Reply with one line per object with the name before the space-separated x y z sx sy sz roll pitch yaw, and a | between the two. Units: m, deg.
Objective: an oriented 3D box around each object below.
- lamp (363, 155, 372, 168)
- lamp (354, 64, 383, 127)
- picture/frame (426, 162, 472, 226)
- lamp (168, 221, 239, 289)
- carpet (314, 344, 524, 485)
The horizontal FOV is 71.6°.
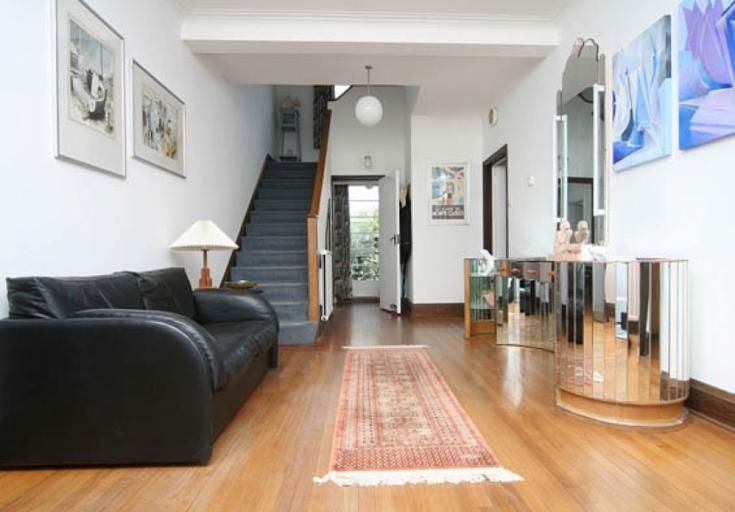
lamp | 0.007 -1.542 8.358 0.105 0.197 0.061 -1 -13 0
lamp | 0.022 -1.981 6.325 0.322 0.770 0.343 2 8 14
picture/frame | 1.170 -0.858 7.131 0.793 1.276 0.056 0 0 5
lamp | -1.482 -0.030 4.637 0.576 0.642 0.607 1 1 15
carpet | 0.301 1.134 3.506 1.120 0.094 1.359 -1 14 -2
